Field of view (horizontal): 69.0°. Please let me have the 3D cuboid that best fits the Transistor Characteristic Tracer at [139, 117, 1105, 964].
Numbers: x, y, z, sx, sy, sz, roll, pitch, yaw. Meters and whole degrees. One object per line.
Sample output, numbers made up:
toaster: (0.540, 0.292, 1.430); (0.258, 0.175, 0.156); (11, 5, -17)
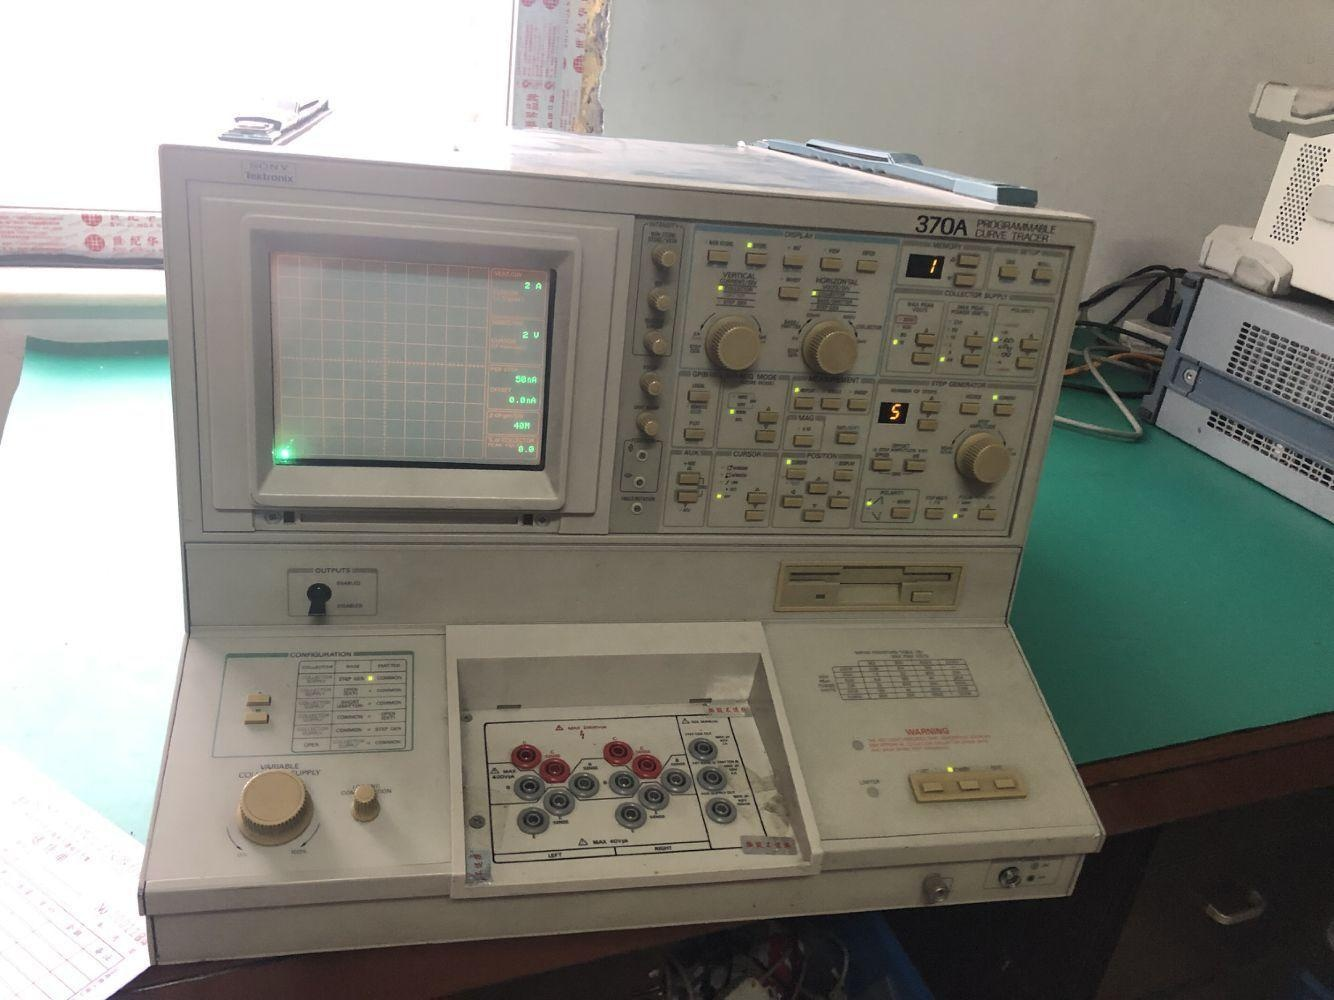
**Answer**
Transistor Characteristic Tracer: (-0.113, 0.024, 1.709); (1.251, 0.841, 1.257); (-2, 32, -7)
